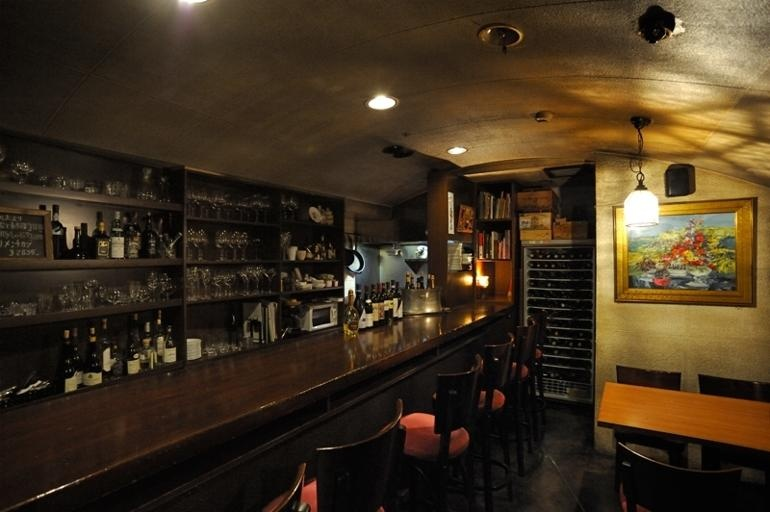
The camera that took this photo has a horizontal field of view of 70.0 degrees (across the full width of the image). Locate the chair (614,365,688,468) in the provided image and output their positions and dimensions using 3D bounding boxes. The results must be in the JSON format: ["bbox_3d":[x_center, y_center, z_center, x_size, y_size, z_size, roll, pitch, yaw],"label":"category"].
[{"bbox_3d":[2.208,1.374,4.541,0.495,0.803,0.517,-2,17,21],"label":"chair"}]

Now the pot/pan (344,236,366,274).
[{"bbox_3d":[-0.388,-0.015,6.700,0.117,0.416,0.298,-11,-8,33],"label":"pot/pan"}]

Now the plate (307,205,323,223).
[{"bbox_3d":[-0.697,-0.417,5.478,0.038,0.156,0.166,-23,-34,38],"label":"plate"}]

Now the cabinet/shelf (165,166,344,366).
[{"bbox_3d":[-1.094,0.054,5.776,0.394,1.450,1.816,10,5,9],"label":"cabinet/shelf"}]

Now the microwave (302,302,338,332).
[{"bbox_3d":[-0.604,0.562,5.159,0.232,0.223,0.372,-5,-6,35],"label":"microwave"}]

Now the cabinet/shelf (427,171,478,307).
[{"bbox_3d":[0.971,-0.176,6.682,0.279,1.624,1.024,-5,-9,39],"label":"cabinet/shelf"}]

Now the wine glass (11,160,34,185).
[{"bbox_3d":[-2.472,-0.565,3.740,0.129,0.148,0.298,-8,17,-33],"label":"wine glass"}]

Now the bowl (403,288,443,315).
[{"bbox_3d":[0.396,0.471,5.750,0.323,0.179,0.307,-3,-4,0],"label":"bowl"}]

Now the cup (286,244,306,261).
[{"bbox_3d":[-0.863,-0.028,5.324,0.165,0.109,0.144,-1,3,-39],"label":"cup"}]

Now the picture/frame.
[{"bbox_3d":[2.831,-0.038,5.059,1.114,0.906,0.087,-1,-2,28],"label":"picture/frame"}]

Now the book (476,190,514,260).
[{"bbox_3d":[1.427,-0.389,7.127,0.484,0.894,0.635,4,15,8],"label":"book"}]

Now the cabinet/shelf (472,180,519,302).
[{"bbox_3d":[1.412,-0.107,7.091,0.572,1.610,0.446,4,6,13],"label":"cabinet/shelf"}]

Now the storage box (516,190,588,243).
[{"bbox_3d":[1.962,-0.476,6.717,0.808,0.642,0.429,8,16,21],"label":"storage box"}]
